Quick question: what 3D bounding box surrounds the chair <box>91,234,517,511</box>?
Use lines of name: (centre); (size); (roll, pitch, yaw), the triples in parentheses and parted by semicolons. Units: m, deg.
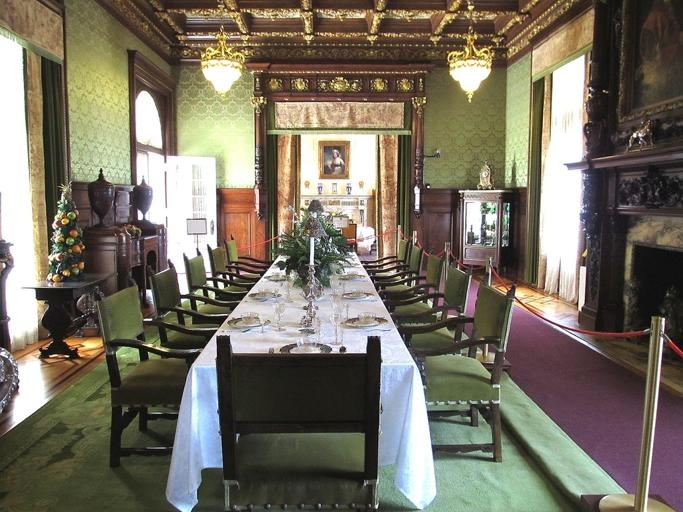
chair: (-0.229, 0.792, 3.704); (2.833, 1.296, 1.695); (-2, 8, -1)

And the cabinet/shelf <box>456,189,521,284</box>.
cabinet/shelf: (2.578, -0.453, 9.741); (1.234, 1.631, 1.421); (3, 5, 19)

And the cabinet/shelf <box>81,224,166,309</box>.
cabinet/shelf: (-2.869, 0.096, 6.930); (0.453, 0.932, 1.556); (0, 6, -3)

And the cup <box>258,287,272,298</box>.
cup: (-0.646, 0.309, 4.391); (0.069, 0.051, 0.076); (1, 2, 0)
